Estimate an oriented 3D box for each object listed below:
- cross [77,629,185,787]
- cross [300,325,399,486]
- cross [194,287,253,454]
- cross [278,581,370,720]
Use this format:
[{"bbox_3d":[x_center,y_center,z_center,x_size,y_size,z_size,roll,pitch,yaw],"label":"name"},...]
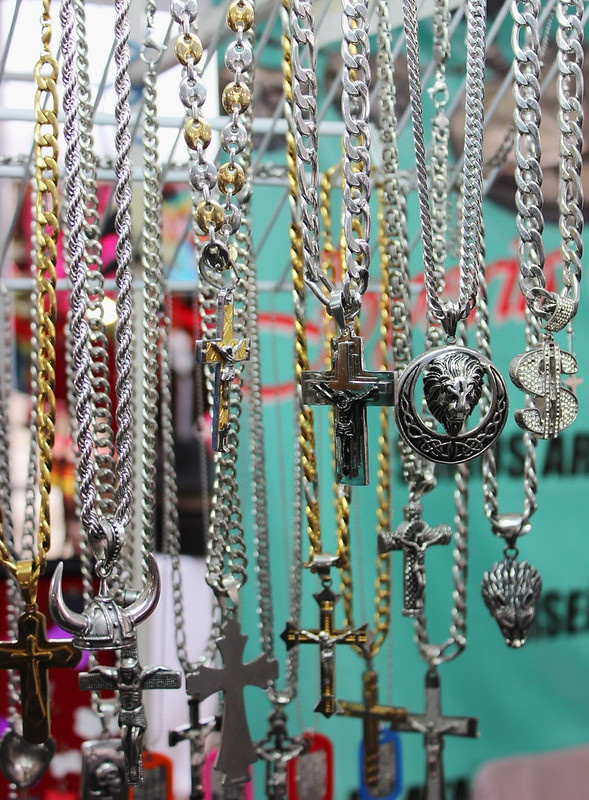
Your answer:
[{"bbox_3d":[-0.206,0.389,2.988,0.117,0.231,0.034,-1,29,-3],"label":"cross"},{"bbox_3d":[0.057,0.019,2.983,0.113,0.207,0.018,2,28,8],"label":"cross"},{"bbox_3d":[-0.093,-0.033,2.970,0.057,0.174,0.093,-2,-1,19],"label":"cross"},{"bbox_3d":[0.032,0.327,3.077,0.116,0.200,0.024,0,31,2],"label":"cross"}]
